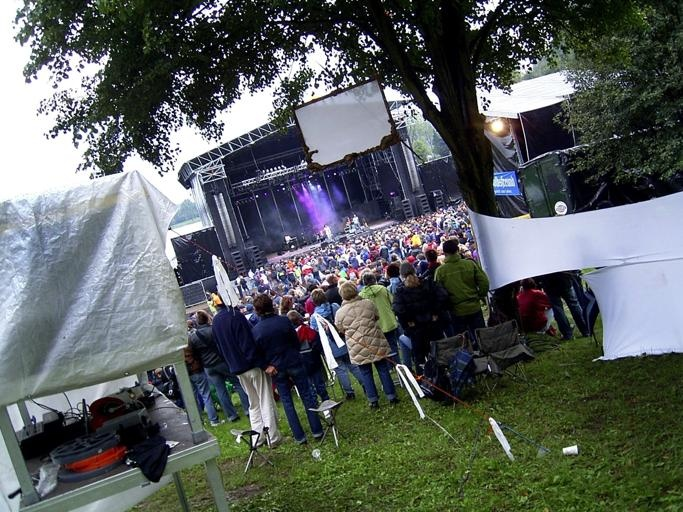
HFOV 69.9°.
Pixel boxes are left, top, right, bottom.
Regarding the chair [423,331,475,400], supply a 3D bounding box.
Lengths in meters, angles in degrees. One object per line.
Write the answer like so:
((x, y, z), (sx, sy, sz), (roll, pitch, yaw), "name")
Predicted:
((1.606, 1.663, 7.353), (0.573, 0.847, 0.766), (-9, -7, 18), "chair")

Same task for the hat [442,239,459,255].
((1.828, -0.139, 8.140), (0.239, 0.207, 0.524), (-13, 4, 10), "hat")

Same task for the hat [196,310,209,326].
((-2.610, 1.165, 9.133), (0.190, 0.304, 0.287), (-3, 26, -3), "hat")

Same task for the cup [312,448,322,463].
((-0.352, 2.815, 6.897), (0.099, 0.142, 0.137), (-1, -27, -9), "cup")

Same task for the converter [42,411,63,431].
((-3.202, 1.811, 5.393), (0.175, 0.188, 0.182), (6, -3, -24), "converter")

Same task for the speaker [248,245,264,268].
((-5.733, 0.084, 32.328), (0.414, 1.397, 1.395), (-7, 4, 15), "speaker")

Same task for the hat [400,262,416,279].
((1.080, 0.222, 7.913), (0.190, 0.279, 0.257), (2, 15, 10), "hat")

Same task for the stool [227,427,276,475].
((-1.328, 2.846, 7.238), (0.373, 0.581, 0.376), (-15, -6, -19), "stool")

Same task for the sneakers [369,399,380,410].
((0.548, 2.436, 8.005), (0.121, 0.156, 0.144), (1, 2, -18), "sneakers")

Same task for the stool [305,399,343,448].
((-0.183, 2.519, 7.313), (0.434, 0.557, 0.472), (-9, -6, -18), "stool")
